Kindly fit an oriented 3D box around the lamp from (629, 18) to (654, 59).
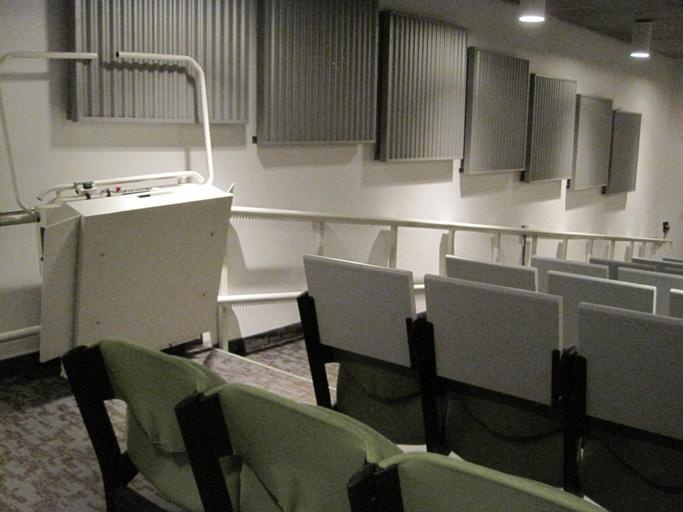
[{"bbox_3d":[3.916,-2.840,7.423,0.236,0.472,0.403,10,15,23],"label":"lamp"}]
